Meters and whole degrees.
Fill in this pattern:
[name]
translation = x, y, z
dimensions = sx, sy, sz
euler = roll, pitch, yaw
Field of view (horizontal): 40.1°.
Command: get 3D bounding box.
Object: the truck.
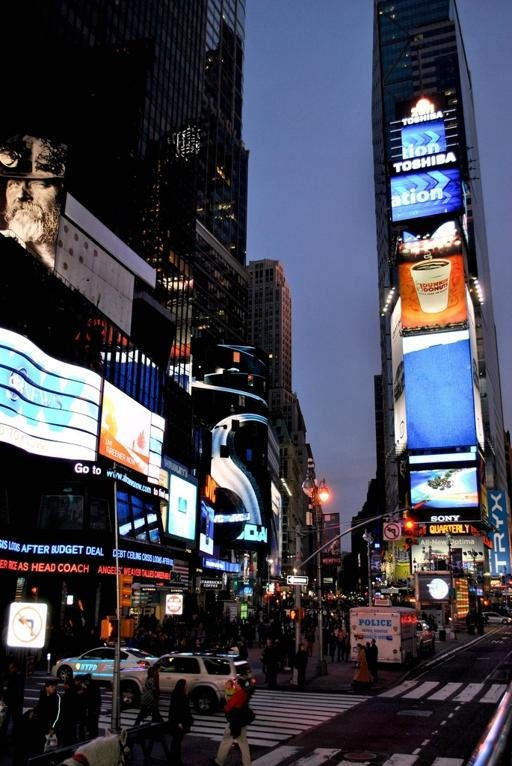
[truck]
translation = 5.595, 11.096, 31.046
dimensions = 2.086, 2.334, 3.989
euler = -2, -11, 14
